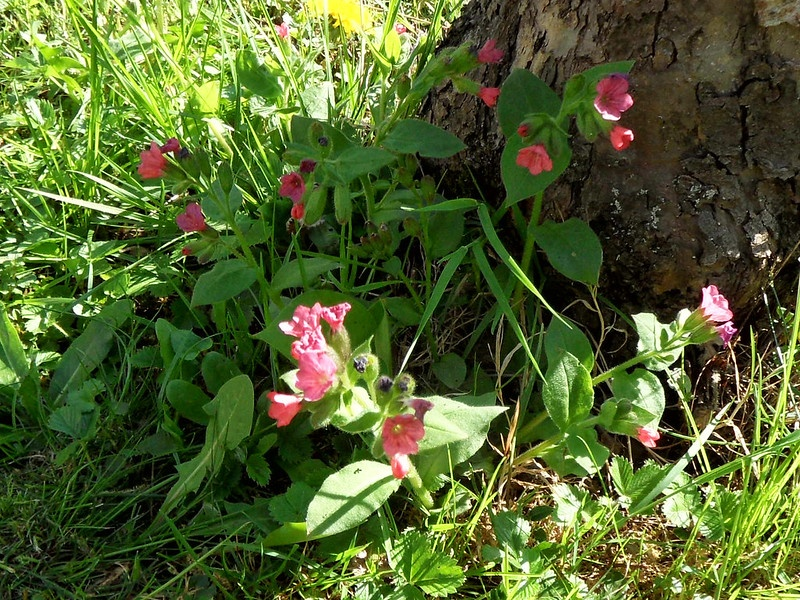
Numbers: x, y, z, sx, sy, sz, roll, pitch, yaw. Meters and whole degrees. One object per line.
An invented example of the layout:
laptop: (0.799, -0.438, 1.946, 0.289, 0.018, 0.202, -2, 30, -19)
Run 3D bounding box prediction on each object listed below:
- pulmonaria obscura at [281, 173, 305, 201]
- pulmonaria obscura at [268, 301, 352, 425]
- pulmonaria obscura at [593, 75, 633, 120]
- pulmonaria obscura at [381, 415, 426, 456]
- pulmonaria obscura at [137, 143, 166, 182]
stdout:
pulmonaria obscura: (-0.366, -0.387, 2.374, 0.089, 0.077, 0.058, 21, 51, 12)
pulmonaria obscura: (-0.240, 0.167, 1.923, 0.232, 0.144, 0.369, 8, 70, -23)
pulmonaria obscura: (0.635, -0.595, 2.062, 0.105, 0.116, 0.075, 4, 49, -1)
pulmonaria obscura: (0.006, 0.386, 1.897, 0.116, 0.191, 0.097, -2, 49, -6)
pulmonaria obscura: (-0.832, -0.462, 2.367, 0.111, 0.117, 0.059, 5, 11, 40)
